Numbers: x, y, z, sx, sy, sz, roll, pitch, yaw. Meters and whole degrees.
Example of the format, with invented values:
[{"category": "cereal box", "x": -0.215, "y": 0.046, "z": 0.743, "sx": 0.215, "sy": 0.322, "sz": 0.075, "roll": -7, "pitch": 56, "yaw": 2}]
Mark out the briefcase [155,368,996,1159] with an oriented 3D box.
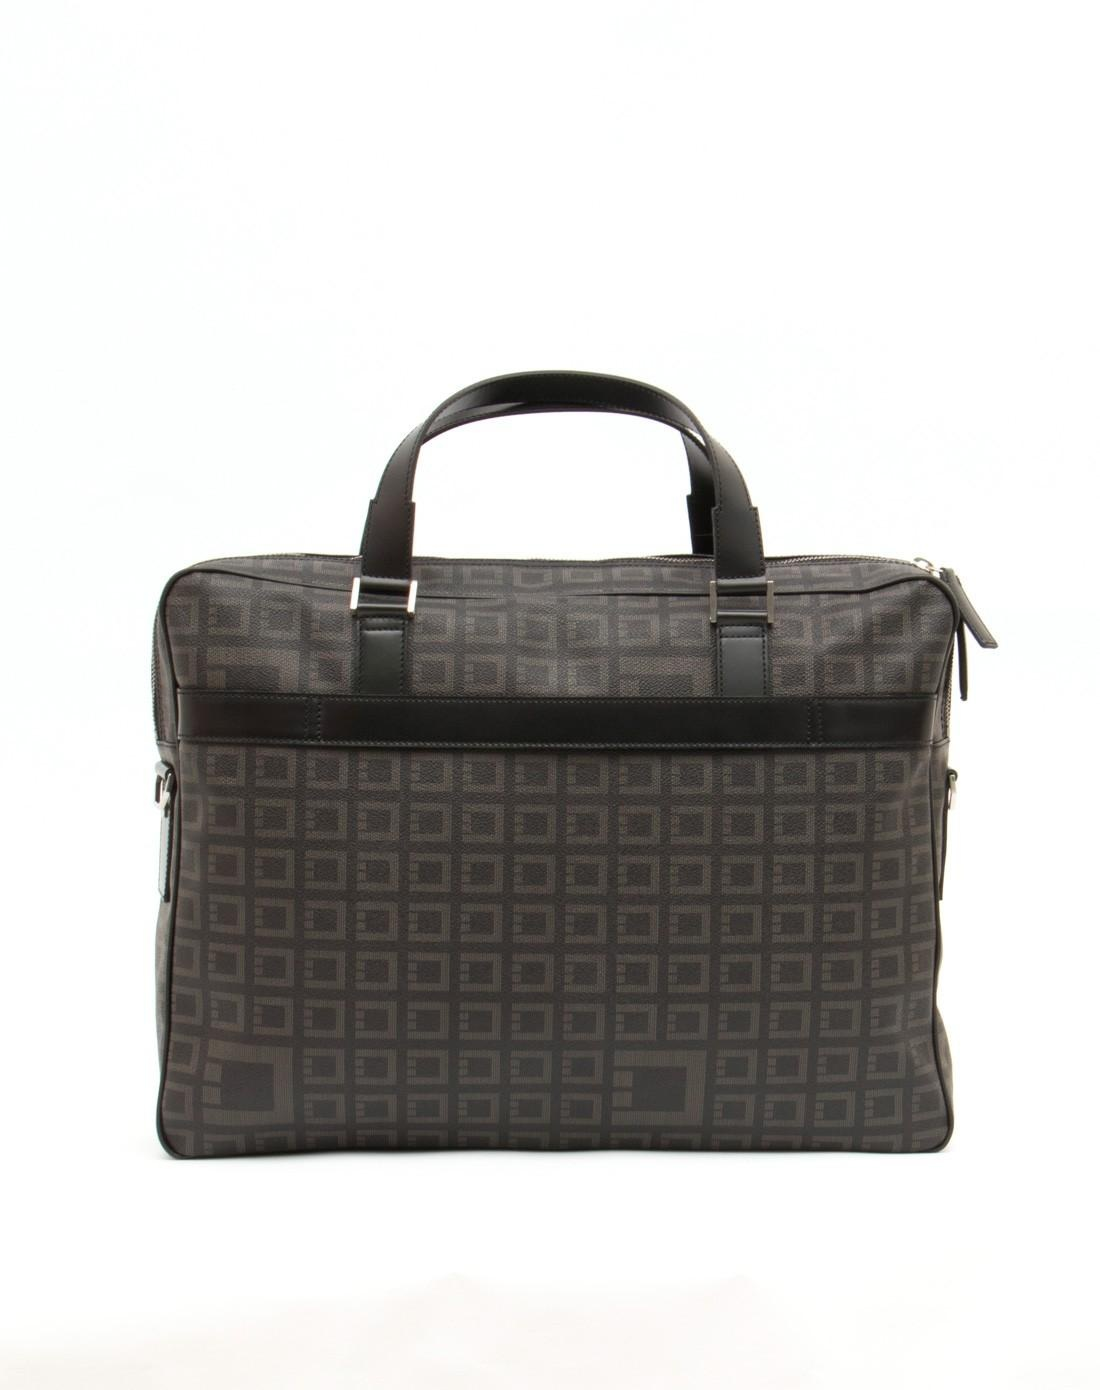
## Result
[{"category": "briefcase", "x": 0.002, "y": 0.166, "z": 1.579, "sx": 0.710, "sy": 0.271, "sz": 0.714, "roll": 0, "pitch": -92, "yaw": 0}]
